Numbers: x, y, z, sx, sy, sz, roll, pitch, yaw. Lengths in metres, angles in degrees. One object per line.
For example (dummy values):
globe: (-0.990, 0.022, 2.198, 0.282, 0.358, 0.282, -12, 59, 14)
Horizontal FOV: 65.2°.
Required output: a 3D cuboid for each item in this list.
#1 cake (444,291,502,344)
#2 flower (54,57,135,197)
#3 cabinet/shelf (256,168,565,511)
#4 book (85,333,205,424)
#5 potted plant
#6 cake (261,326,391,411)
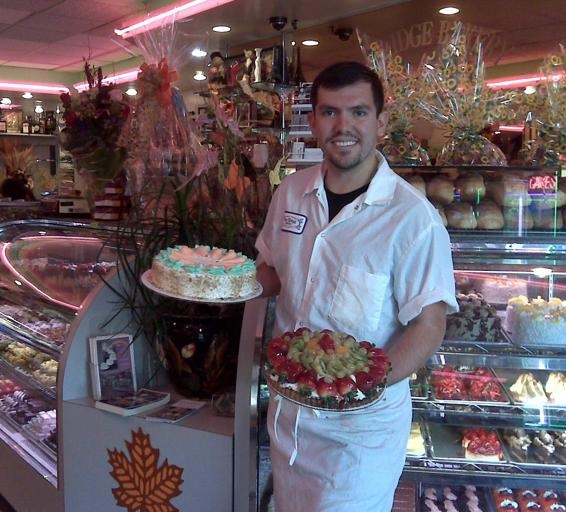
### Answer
cake: (0.733, 0.243, 1.704, 0.179, 0.073, 0.223, 1, 33, 4)
flower: (-0.996, -0.702, 2.378, 0.352, 0.782, 0.777, -11, 15, -30)
cabinet/shelf: (0.241, 0.160, 1.573, 0.807, 0.340, 1.088, 2, 15, 7)
book: (-0.525, 0.442, 1.728, 0.418, 0.248, 0.268, 1, 1, 32)
potted plant: (-0.278, 0.096, 1.923, 0.813, 0.947, 0.838, 0, 2, -3)
cake: (0.088, 0.226, 0.926, 0.256, 0.091, 0.241, -3, 12, -1)
